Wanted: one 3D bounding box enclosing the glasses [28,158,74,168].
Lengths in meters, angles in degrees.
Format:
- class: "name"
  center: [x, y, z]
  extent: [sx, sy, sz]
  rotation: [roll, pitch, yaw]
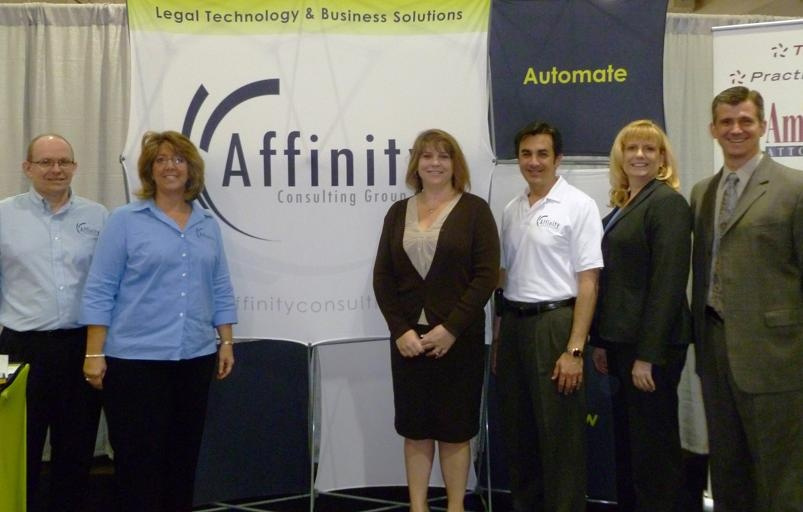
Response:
- class: "glasses"
  center: [-2.071, -0.539, 4.420]
  extent: [0.246, 0.047, 0.086]
  rotation: [-3, 10, -24]
